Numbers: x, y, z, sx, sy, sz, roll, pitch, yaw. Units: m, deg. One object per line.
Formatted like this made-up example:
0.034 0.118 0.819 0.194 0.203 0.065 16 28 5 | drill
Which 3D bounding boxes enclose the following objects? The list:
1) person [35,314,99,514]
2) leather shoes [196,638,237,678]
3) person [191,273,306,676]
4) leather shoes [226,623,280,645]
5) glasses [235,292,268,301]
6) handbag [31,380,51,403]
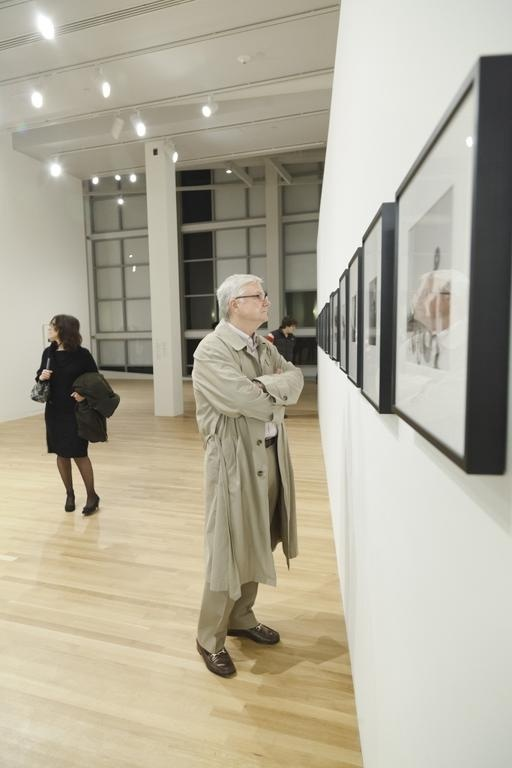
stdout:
-1.550 0.256 4.407 0.458 1.636 0.486 -5 6 -34 | person
-0.170 1.202 2.323 0.062 0.082 0.189 7 -8 -28 | leather shoes
-0.030 0.381 2.329 0.489 1.698 0.477 -5 6 -28 | person
-0.019 1.141 2.493 0.222 0.089 0.085 -3 0 21 | leather shoes
-0.008 -0.360 2.231 0.073 0.032 0.146 3 8 44 | glasses
-1.757 0.069 4.293 0.195 0.159 0.108 3 7 43 | handbag
